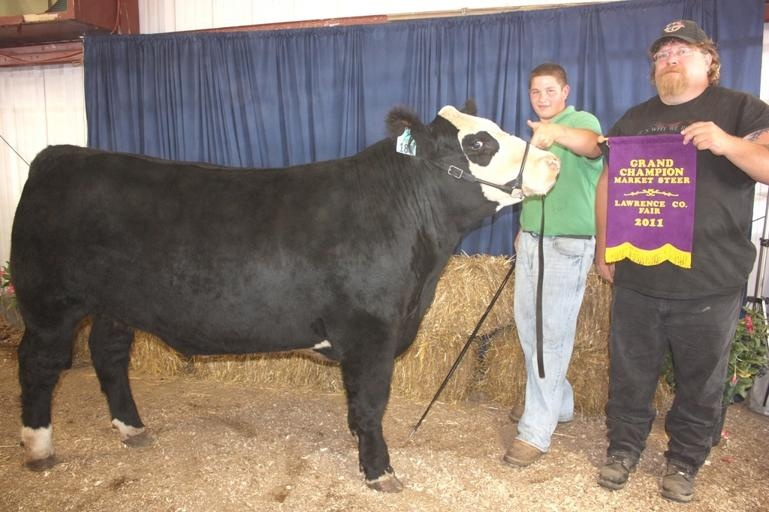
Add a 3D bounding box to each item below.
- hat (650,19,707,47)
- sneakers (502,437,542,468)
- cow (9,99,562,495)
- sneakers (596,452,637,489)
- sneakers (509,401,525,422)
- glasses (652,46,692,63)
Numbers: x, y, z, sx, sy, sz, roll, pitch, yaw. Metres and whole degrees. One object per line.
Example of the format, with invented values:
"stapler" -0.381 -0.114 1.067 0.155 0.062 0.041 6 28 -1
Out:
"hat" 2.065 -1.537 4.702 0.327 0.157 0.175 -4 14 -12
"sneakers" 1.008 1.453 5.027 0.287 0.117 0.144 11 16 -43
"cow" -0.612 0.453 5.068 3.073 2.012 0.949 2 -5 -2
"sneakers" 1.722 1.513 4.974 0.182 0.186 0.526 5 14 32
"sneakers" 1.094 1.288 5.624 0.150 0.110 0.249 1 -8 5
"glasses" 1.982 -1.383 4.681 0.143 0.043 0.155 -3 1 42
